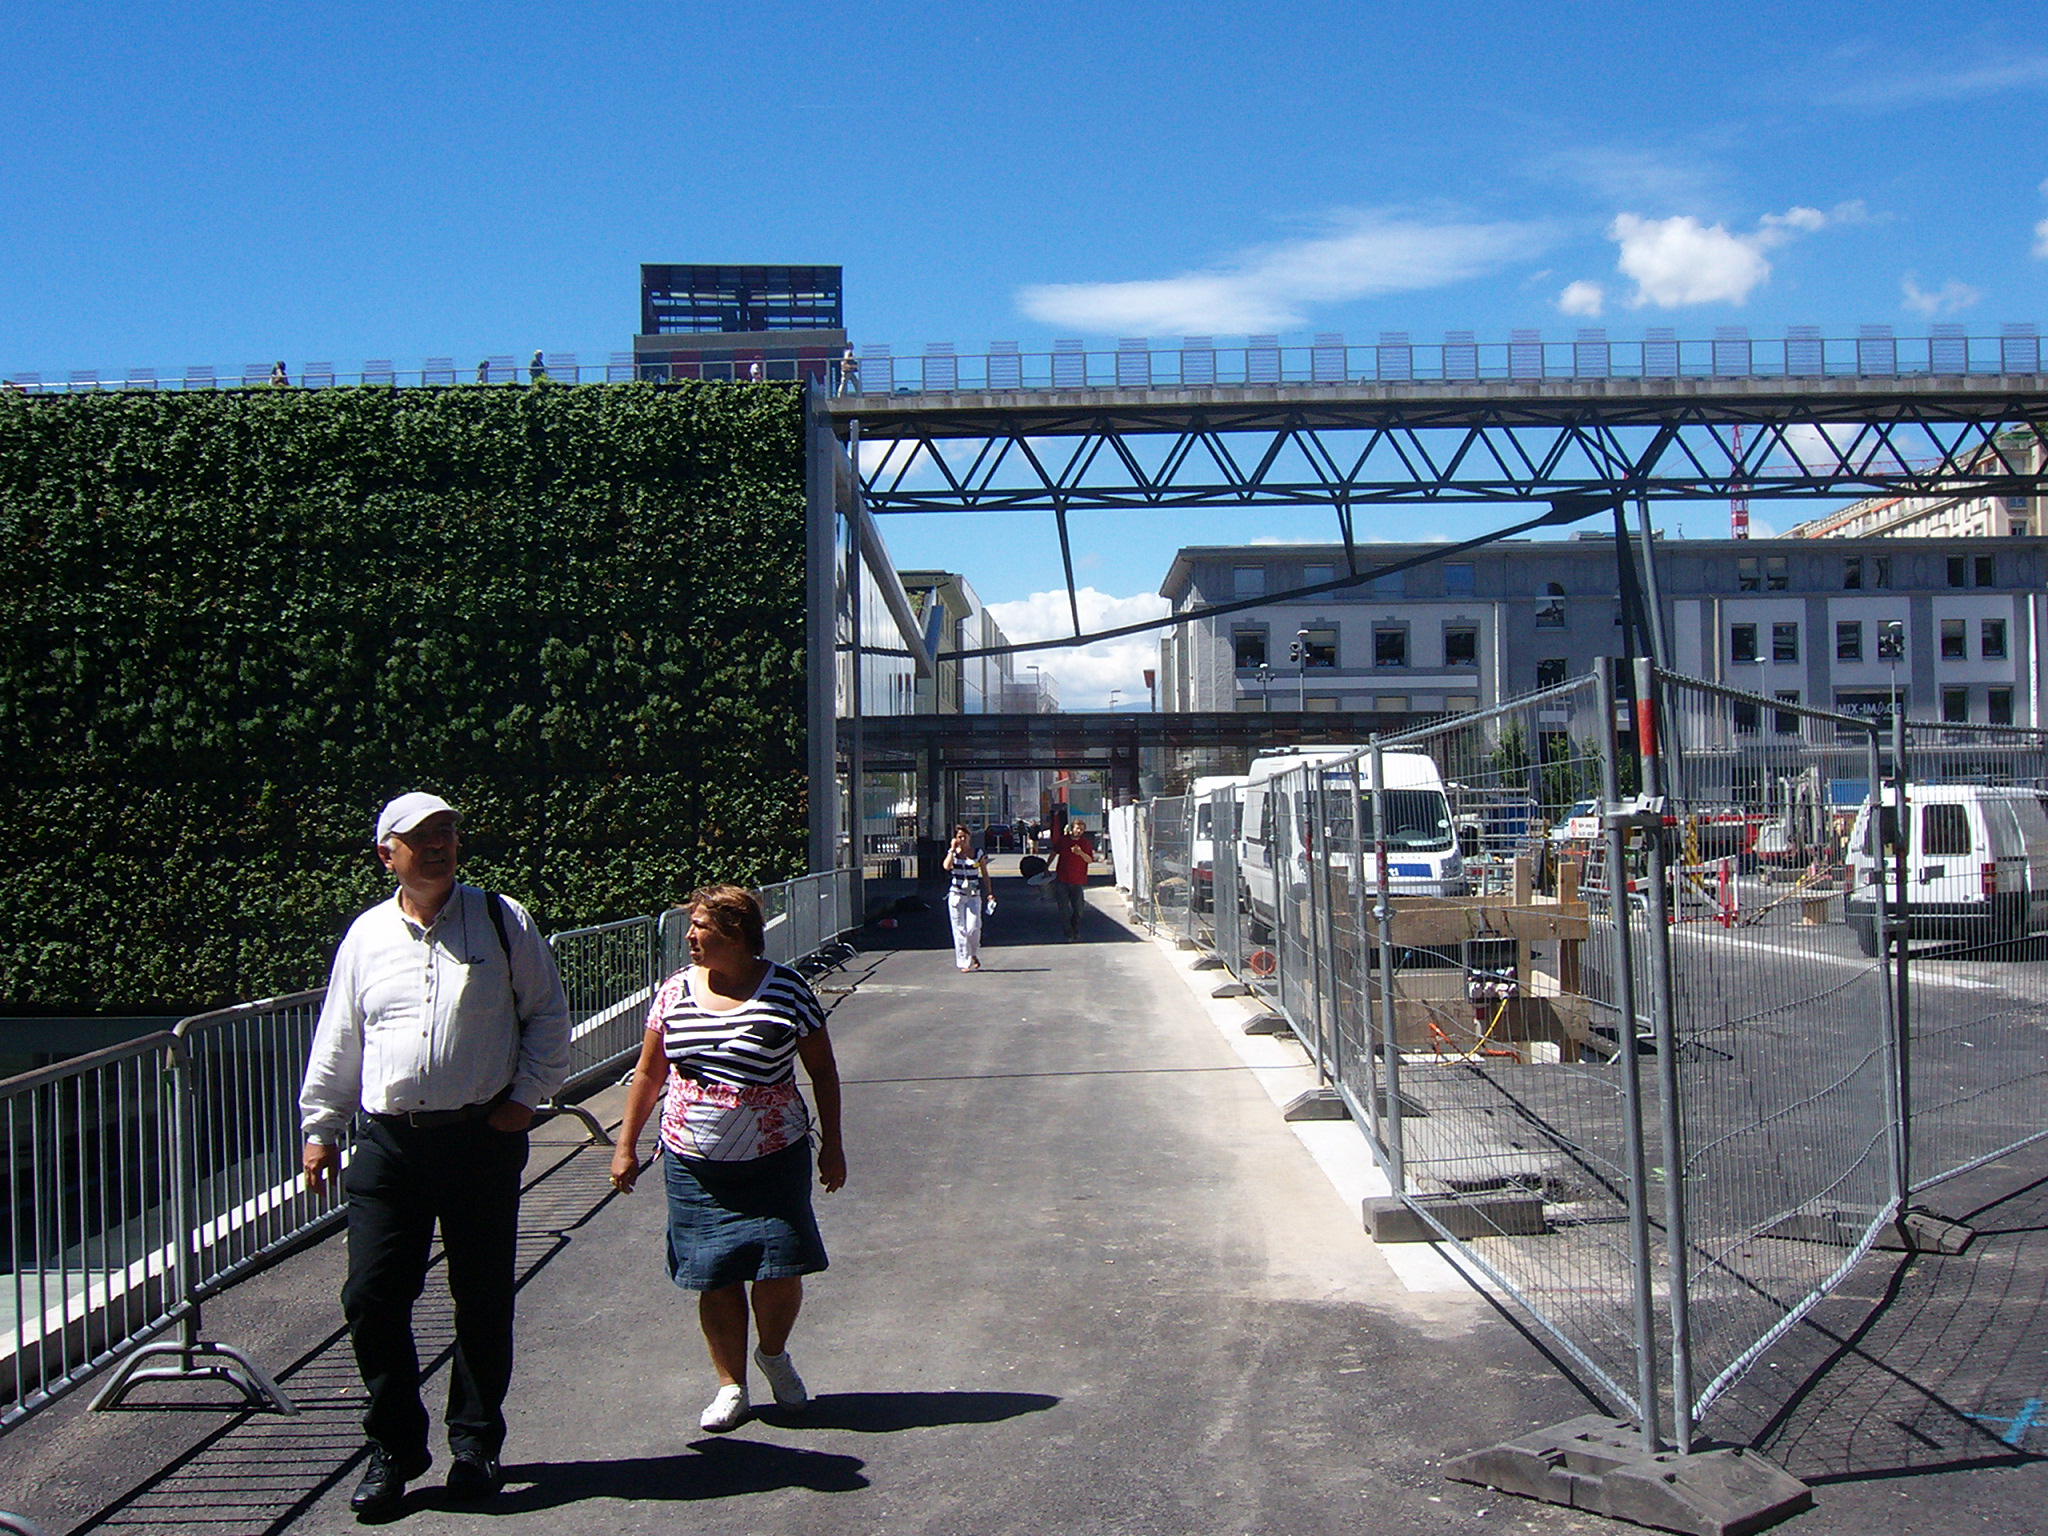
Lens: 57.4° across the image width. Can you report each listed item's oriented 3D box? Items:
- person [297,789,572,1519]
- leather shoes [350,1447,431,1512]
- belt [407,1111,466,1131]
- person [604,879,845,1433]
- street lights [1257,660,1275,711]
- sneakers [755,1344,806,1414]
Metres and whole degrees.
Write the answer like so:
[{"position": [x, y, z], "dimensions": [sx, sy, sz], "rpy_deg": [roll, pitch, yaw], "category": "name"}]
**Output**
[{"position": [-2.224, 1.420, 7.063], "dimensions": [0.959, 2.370, 0.472], "rpy_deg": [-1, 0, -17], "category": "person"}, {"position": [-2.341, 2.652, 6.911], "dimensions": [0.127, 0.179, 0.392], "rpy_deg": [-1, -12, 1], "category": "leather shoes"}, {"position": [-2.189, 1.308, 6.922], "dimensions": [0.194, 0.060, 0.037], "rpy_deg": [-1, 0, 0], "category": "belt"}, {"position": [-1.191, 1.560, 7.639], "dimensions": [0.893, 2.004, 0.738], "rpy_deg": [-1, 0, -10], "category": "person"}, {"position": [10.643, -3.743, 82.417], "dimensions": [0.673, 2.146, 0.547], "rpy_deg": [-1, 0, 2], "category": "street lights"}, {"position": [-0.994, 2.483, 7.577], "dimensions": [0.137, 0.134, 0.307], "rpy_deg": [1, 0, -26], "category": "sneakers"}]
